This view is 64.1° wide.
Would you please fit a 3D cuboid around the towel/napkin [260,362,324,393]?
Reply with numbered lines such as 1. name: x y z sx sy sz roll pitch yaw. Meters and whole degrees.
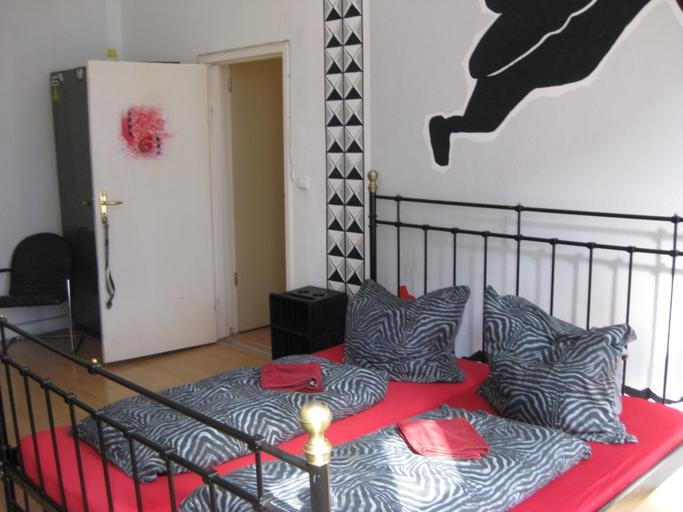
1. towel/napkin: -0.234 0.573 2.631 0.158 0.058 0.163 4 5 17

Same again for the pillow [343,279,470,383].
1. pillow: 0.315 0.428 2.919 0.516 0.576 0.171 2 -31 27

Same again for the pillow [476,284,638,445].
1. pillow: 0.980 0.479 2.536 0.442 0.556 0.751 -16 15 -39

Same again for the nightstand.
1. nightstand: -0.169 0.536 3.783 0.439 0.563 0.525 4 4 43

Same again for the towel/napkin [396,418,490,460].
1. towel/napkin: 0.383 0.687 2.063 0.313 0.069 0.208 0 8 -3
